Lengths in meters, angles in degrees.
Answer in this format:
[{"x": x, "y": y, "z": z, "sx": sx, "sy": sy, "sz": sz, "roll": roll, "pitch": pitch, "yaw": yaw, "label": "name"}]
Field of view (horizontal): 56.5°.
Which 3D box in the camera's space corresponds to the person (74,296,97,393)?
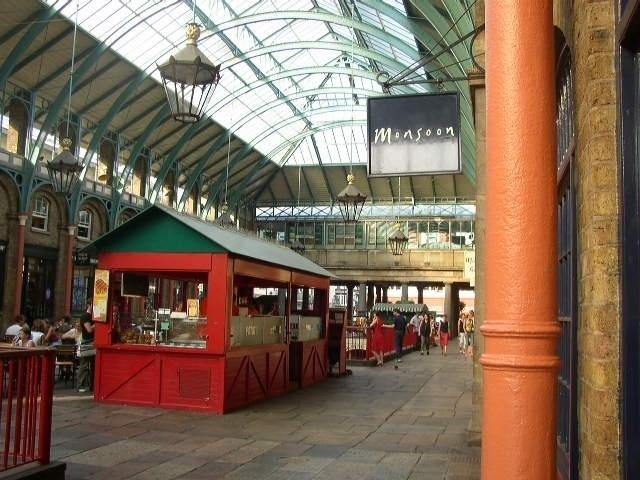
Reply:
[{"x": -4.894, "y": 2.220, "z": 12.715, "sx": 0.412, "sy": 1.776, "sz": 0.500, "roll": 4, "pitch": -4, "yaw": -3, "label": "person"}]
